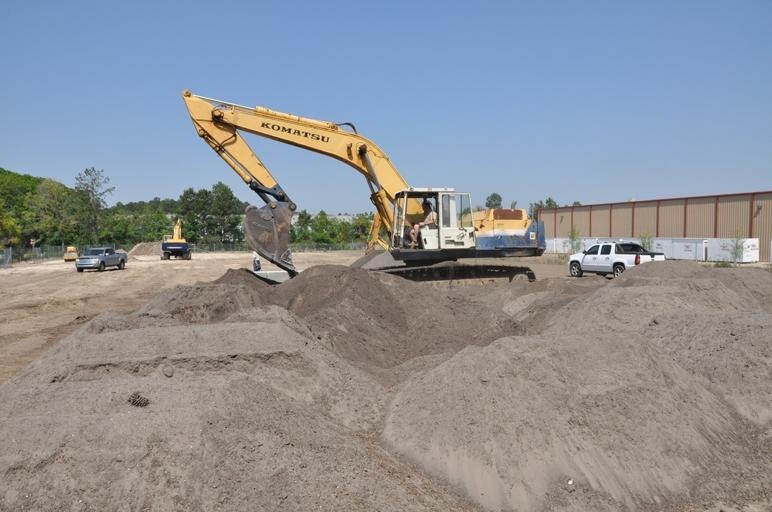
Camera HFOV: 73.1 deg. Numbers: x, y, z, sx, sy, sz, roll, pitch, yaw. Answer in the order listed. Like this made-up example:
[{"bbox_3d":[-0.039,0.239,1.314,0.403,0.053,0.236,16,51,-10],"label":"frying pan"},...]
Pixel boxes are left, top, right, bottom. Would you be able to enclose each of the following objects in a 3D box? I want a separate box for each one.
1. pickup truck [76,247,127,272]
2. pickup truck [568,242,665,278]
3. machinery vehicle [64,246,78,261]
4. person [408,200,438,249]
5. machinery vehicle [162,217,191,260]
[{"bbox_3d":[-18.546,0.182,33.848,1.542,1.328,3.548,-1,-2,3],"label":"pickup truck"},{"bbox_3d":[10.101,0.163,22.786,1.814,1.493,3.786,-1,4,-25],"label":"pickup truck"},{"bbox_3d":[-28.300,-0.148,46.615,0.928,1.264,1.645,-7,5,-34],"label":"machinery vehicle"},{"bbox_3d":[1.159,-0.971,15.813,0.737,1.461,0.670,8,-11,-17],"label":"person"},{"bbox_3d":[-22.261,-1.963,55.159,2.504,5.146,7.174,-1,2,-18],"label":"machinery vehicle"}]
